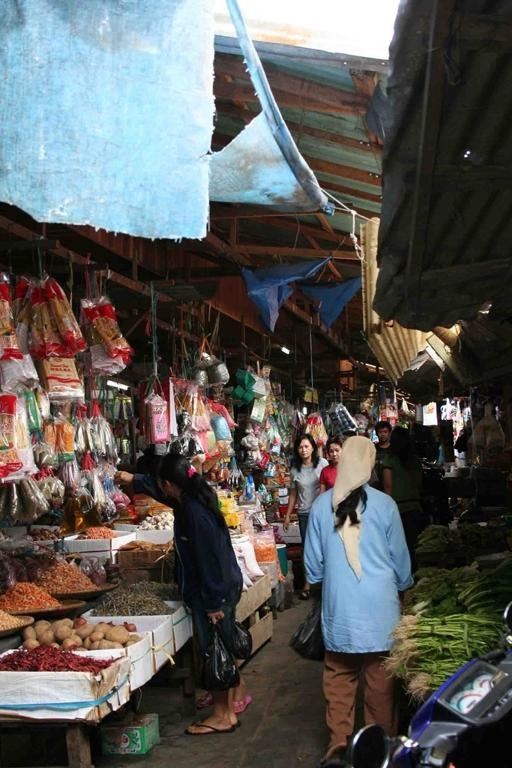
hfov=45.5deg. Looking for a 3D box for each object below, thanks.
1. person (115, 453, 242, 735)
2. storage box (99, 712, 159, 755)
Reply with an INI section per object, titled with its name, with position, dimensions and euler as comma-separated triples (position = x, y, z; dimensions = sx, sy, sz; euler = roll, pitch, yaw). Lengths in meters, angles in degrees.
[person]
position = -0.348, 1.241, 3.555
dimensions = 0.585, 1.590, 0.567
euler = 0, 0, -35
[storage box]
position = -0.666, 1.860, 3.216
dimensions = 0.219, 0.116, 0.220
euler = -1, -2, 16
